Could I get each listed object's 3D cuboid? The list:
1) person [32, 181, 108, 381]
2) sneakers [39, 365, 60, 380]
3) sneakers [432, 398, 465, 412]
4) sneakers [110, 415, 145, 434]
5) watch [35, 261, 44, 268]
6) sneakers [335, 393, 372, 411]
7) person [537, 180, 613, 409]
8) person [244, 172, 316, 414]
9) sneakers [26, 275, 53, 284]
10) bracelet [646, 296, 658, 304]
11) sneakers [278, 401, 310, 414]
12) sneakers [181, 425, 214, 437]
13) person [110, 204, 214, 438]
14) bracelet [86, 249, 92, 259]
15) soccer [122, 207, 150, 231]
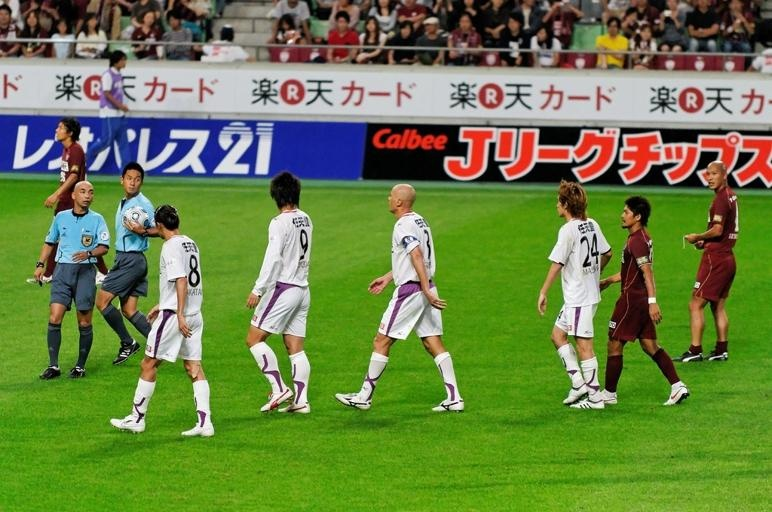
[{"bbox_3d":[-4.724,0.329,20.042,1.048,2.826,1.022,-2,13,-13],"label":"person"},{"bbox_3d":[-5.035,1.733,19.755,0.137,0.133,0.299,0,-3,14],"label":"sneakers"},{"bbox_3d":[0.902,2.142,19.166,0.475,0.185,0.176,1,2,21],"label":"sneakers"},{"bbox_3d":[-3.531,2.293,18.398,0.549,0.278,0.197,8,5,-1],"label":"sneakers"},{"bbox_3d":[-5.435,0.122,20.769,0.091,0.065,0.096,21,-20,-33],"label":"watch"},{"bbox_3d":[-0.464,2.013,19.044,0.433,0.191,0.241,20,-2,-4],"label":"sneakers"},{"bbox_3d":[2.755,0.573,19.188,0.957,3.187,0.821,3,13,8],"label":"person"},{"bbox_3d":[-1.527,0.554,18.803,0.906,3.399,0.788,-1,13,-9],"label":"person"},{"bbox_3d":[-5.821,0.381,22.275,0.433,0.180,0.132,5,11,0],"label":"sneakers"},{"bbox_3d":[3.807,0.617,18.979,0.097,0.070,0.096,-1,7,5],"label":"bracelet"},{"bbox_3d":[-1.309,2.166,19.032,0.469,0.184,0.170,3,2,9],"label":"sneakers"},{"bbox_3d":[-2.652,2.398,18.378,0.482,0.196,0.163,2,3,4],"label":"sneakers"},{"bbox_3d":[-2.989,0.911,18.240,1.169,3.070,0.815,-1,13,-10],"label":"person"},{"bbox_3d":[-4.466,-0.033,19.882,0.075,0.099,0.042,1,-18,-17],"label":"bracelet"},{"bbox_3d":[-3.736,-0.564,19.931,0.337,0.335,0.265,-31,-25,35],"label":"soccer"}]
